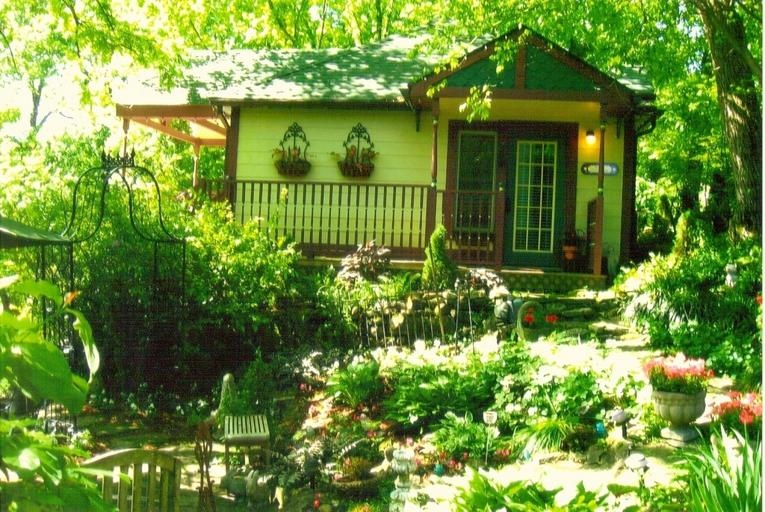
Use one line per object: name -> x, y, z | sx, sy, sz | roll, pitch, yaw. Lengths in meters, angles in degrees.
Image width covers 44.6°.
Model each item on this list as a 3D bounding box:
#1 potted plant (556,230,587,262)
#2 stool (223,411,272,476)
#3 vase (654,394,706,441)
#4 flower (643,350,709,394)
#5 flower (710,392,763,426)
potted plant -> 4.392, -0.238, 21.748 | 0.545, 0.945, 0.604 | 0, 0, 27
stool -> -2.423, 3.352, 16.739 | 0.841, 0.978, 0.753 | 0, -7, -11
vase -> 4.949, 2.607, 15.607 | 0.635, 0.722, 0.785 | -2, -1, 0
flower -> 4.913, 2.001, 15.685 | 0.690, 0.524, 0.710 | 0, -2, -9
flower -> 5.813, 2.499, 15.276 | 0.476, 0.408, 0.610 | -5, 2, 6
